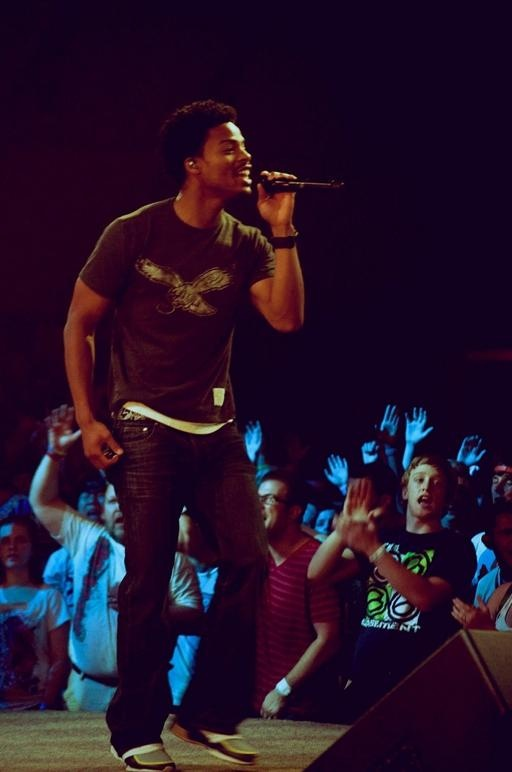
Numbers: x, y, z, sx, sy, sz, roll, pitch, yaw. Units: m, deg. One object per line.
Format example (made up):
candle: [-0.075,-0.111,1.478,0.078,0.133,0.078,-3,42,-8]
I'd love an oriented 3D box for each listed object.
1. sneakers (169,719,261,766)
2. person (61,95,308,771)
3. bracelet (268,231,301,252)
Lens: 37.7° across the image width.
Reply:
sneakers: [-0.126,1.026,2.207,0.232,0.065,0.084,9,-5,25]
person: [-0.257,0.063,2.343,0.617,2.010,0.785,0,4,22]
bracelet: [0.094,-0.482,2.498,0.094,0.048,0.080,-7,12,6]
